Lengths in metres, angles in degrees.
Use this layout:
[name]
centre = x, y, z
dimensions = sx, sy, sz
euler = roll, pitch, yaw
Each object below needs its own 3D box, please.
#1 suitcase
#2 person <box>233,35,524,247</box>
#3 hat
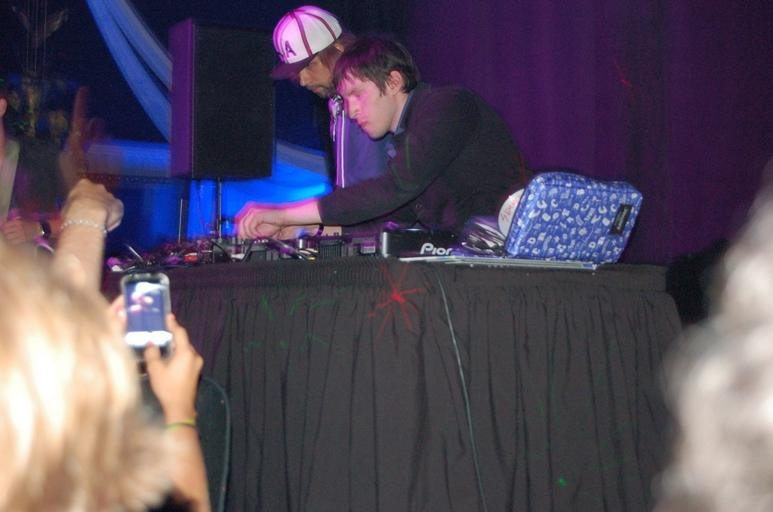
[suitcase]
centre = 0.647, -0.110, 3.025
dimensions = 0.404, 0.315, 0.119
euler = 6, 16, -23
[person]
centre = -0.075, -0.463, 3.758
dimensions = 1.188, 1.098, 0.712
euler = -1, -14, -10
[hat]
centre = -0.405, -1.050, 4.247
dimensions = 0.373, 0.221, 0.258
euler = -45, 35, -12
